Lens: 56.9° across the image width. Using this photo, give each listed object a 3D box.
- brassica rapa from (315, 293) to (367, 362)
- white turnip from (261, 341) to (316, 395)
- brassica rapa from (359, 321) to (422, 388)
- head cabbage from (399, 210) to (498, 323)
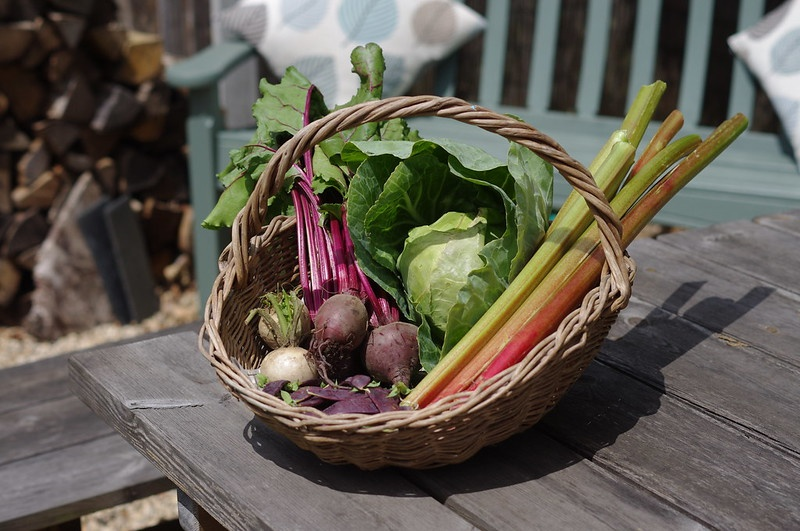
[{"bbox_3d":[-0.118,0.129,1.582,0.091,0.100,0.127,5,21,13],"label":"brassica rapa"},{"bbox_3d":[-0.222,0.202,1.482,0.077,0.087,0.087,8,17,14],"label":"white turnip"},{"bbox_3d":[-0.011,0.164,1.567,0.122,0.122,0.145,-9,20,-31],"label":"brassica rapa"},{"bbox_3d":[0.102,0.004,1.582,0.168,0.211,0.183,-4,41,-18],"label":"head cabbage"}]
